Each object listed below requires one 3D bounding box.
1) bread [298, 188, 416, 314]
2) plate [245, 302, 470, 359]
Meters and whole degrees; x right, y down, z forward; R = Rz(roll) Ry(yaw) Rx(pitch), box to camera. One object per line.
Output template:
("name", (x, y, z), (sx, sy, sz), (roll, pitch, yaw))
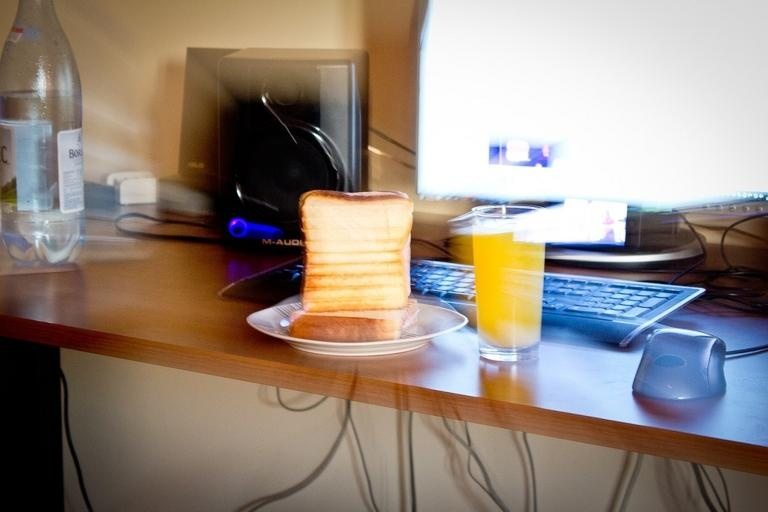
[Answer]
("bread", (-0.037, -0.003, 0.751), (0.187, 0.168, 0.065), (0, 0, -1))
("plate", (-0.044, 0.089, 0.739), (0.250, 0.025, 0.238), (-1, 11, -25))
